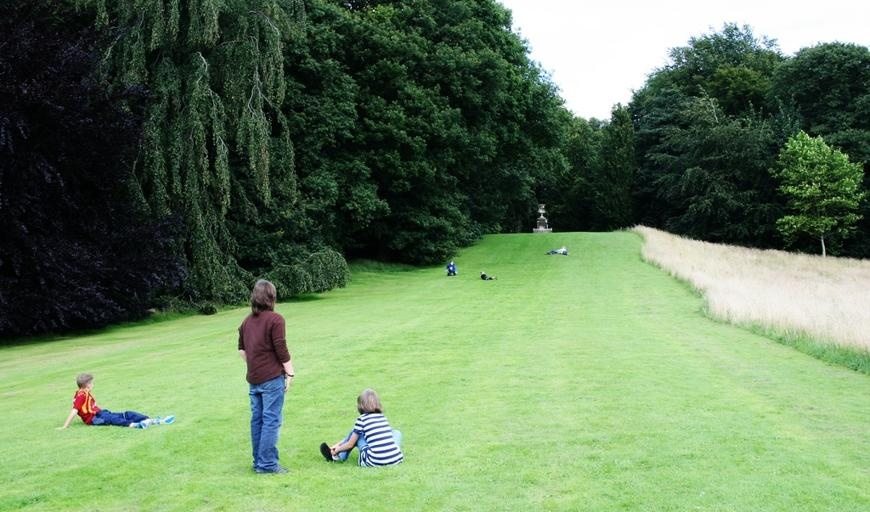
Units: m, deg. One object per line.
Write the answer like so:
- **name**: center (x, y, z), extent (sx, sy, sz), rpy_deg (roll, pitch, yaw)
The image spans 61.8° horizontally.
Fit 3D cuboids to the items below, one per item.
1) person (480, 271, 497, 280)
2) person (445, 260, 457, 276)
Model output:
- **person**: center (2.917, 1.134, 38.789), extent (0.328, 0.318, 0.948), rpy_deg (-34, -20, 19)
- **person**: center (0.947, 0.670, 41.075), extent (0.411, 0.796, 0.607), rpy_deg (0, 5, -1)
